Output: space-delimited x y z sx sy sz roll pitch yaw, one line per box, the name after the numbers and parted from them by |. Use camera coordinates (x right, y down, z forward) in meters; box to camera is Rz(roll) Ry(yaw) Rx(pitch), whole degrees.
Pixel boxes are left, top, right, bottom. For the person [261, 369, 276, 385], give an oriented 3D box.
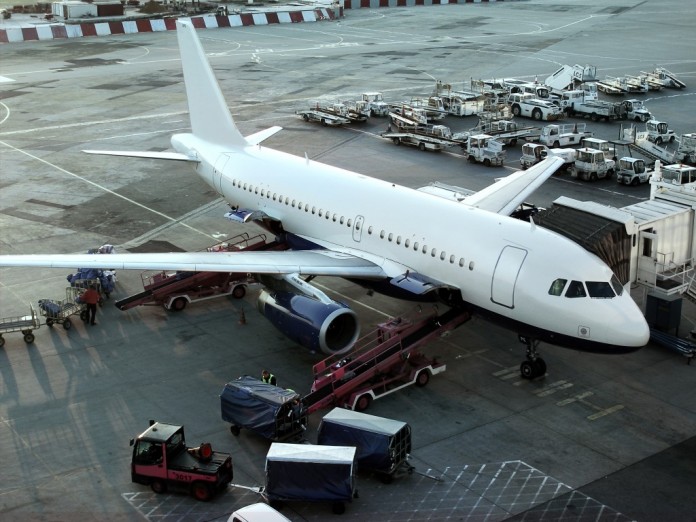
-3.348 5.014 25.964 0.534 0.341 1.380 -4 14 -26 | person

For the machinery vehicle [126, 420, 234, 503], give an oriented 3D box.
-5.694 7.246 21.633 3.973 1.381 2.032 0 7 28 | machinery vehicle
